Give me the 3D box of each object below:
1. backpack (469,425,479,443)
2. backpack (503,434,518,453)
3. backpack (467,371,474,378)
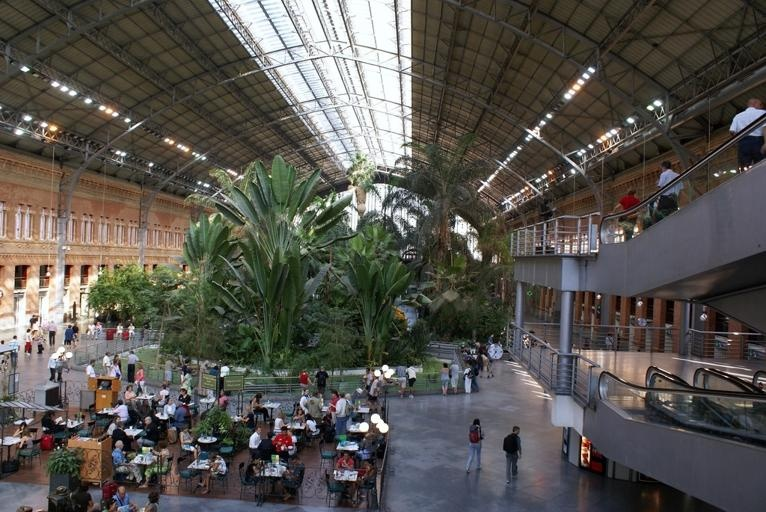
[{"bbox_3d":[2.884,5.574,15.662,0.347,0.543,0.367,0,-13,5],"label":"backpack"},{"bbox_3d":[3.865,5.612,15.078,0.431,0.616,0.341,-2,-14,14],"label":"backpack"},{"bbox_3d":[4.152,5.603,23.903,0.212,0.378,0.540,-8,-17,35],"label":"backpack"}]
